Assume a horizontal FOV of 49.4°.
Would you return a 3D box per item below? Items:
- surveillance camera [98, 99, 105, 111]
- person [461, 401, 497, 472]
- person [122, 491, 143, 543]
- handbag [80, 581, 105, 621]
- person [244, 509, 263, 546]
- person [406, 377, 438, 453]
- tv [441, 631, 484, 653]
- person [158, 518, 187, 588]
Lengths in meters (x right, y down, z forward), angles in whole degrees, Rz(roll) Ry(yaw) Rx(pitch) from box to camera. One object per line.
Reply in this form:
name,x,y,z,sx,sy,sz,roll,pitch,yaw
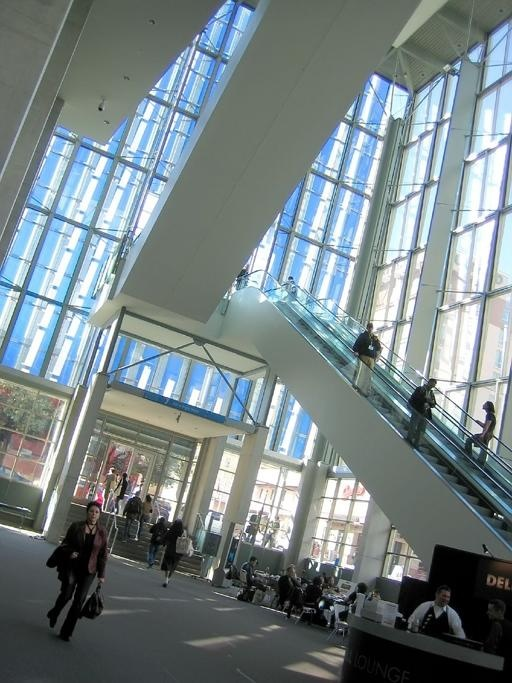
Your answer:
surveillance camera,-3.383,-5.157,12.184,0.114,0.202,0.126,15,6,6
person,4.358,1.823,10.847,0.552,1.568,0.505,17,-56,22
person,-3.722,5.265,17.255,0.679,1.655,0.564,14,17,1
handbag,-1.336,2.131,4.576,0.149,0.276,0.256,18,-15,-7
person,-0.103,7.972,24.314,0.570,1.366,1.347,15,-15,6
person,2.823,1.212,9.615,0.449,1.422,1.336,11,-16,18
tv,1.719,2.469,4.587,0.386,0.064,0.241,14,-15,5
person,-1.812,4.516,11.962,0.486,1.399,1.524,17,-15,-3
